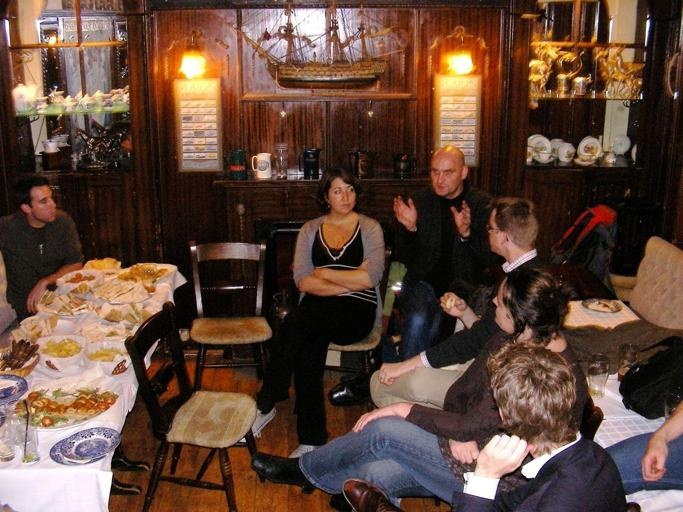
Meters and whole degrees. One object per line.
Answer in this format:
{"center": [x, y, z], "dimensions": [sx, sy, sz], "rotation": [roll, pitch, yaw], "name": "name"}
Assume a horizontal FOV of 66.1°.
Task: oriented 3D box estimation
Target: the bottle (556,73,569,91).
{"center": [2.169, -1.683, 5.132], "dimensions": [0.132, 0.181, 0.134], "rotation": [-3, 15, 1], "name": "bottle"}

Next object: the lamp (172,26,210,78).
{"center": [-1.372, -1.814, 4.735], "dimensions": [0.280, 0.413, 0.150], "rotation": [-5, 16, -8], "name": "lamp"}

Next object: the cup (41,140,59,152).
{"center": [-2.696, -1.012, 4.847], "dimensions": [0.128, 0.092, 0.134], "rotation": [2, -1, 0], "name": "cup"}

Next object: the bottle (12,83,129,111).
{"center": [-2.463, -1.455, 4.815], "dimensions": [1.074, 0.288, 0.172], "rotation": [-2, 15, 4], "name": "bottle"}

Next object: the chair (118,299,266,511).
{"center": [-0.866, 0.892, 3.030], "dimensions": [0.759, 1.137, 0.667], "rotation": [4, 26, 0], "name": "chair"}

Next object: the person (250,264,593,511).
{"center": [0.252, 0.517, 2.666], "dimensions": [1.599, 1.112, 0.809], "rotation": [0, 24, 13], "name": "person"}

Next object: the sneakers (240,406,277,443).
{"center": [-0.515, 1.052, 3.313], "dimensions": [0.131, 0.148, 0.378], "rotation": [6, 15, 19], "name": "sneakers"}

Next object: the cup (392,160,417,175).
{"center": [0.578, -0.815, 4.855], "dimensions": [0.150, 0.155, 0.150], "rotation": [2, 9, 0], "name": "cup"}

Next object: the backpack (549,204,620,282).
{"center": [1.939, -0.126, 4.208], "dimensions": [0.385, 0.550, 0.493], "rotation": [11, 24, -27], "name": "backpack"}

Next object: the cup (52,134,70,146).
{"center": [-2.678, -1.104, 4.996], "dimensions": [0.117, 0.105, 0.128], "rotation": [-2, 1, 0], "name": "cup"}

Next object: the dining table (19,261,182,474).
{"center": [-1.301, 0.490, 3.097], "dimensions": [0.779, 0.315, 1.264], "rotation": [4, 27, 4], "name": "dining table"}

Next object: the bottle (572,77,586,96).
{"center": [2.351, -1.664, 5.149], "dimensions": [0.220, 0.175, 0.104], "rotation": [-11, 17, -27], "name": "bottle"}

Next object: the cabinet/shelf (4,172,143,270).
{"center": [-2.208, -0.330, 4.276], "dimensions": [0.873, 0.783, 0.300], "rotation": [-1, 14, -3], "name": "cabinet/shelf"}

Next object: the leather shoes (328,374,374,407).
{"center": [0.048, 0.897, 3.579], "dimensions": [0.275, 0.188, 0.078], "rotation": [-11, 10, 2], "name": "leather shoes"}

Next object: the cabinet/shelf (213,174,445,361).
{"center": [-0.055, 0.059, 3.958], "dimensions": [1.625, 1.418, 0.467], "rotation": [-1, 15, -1], "name": "cabinet/shelf"}
